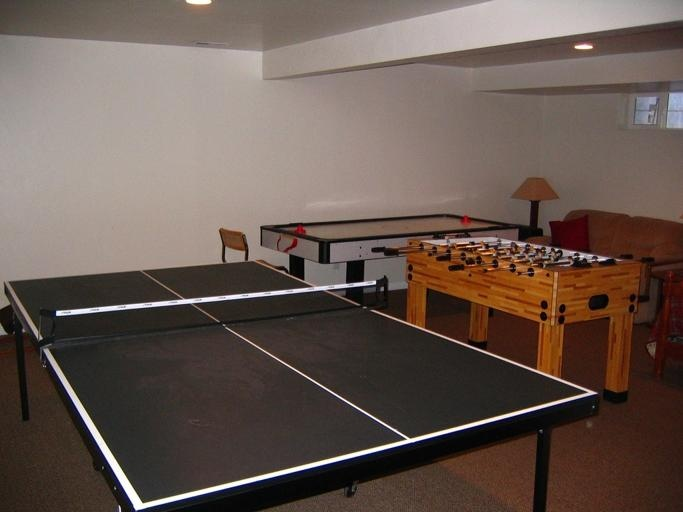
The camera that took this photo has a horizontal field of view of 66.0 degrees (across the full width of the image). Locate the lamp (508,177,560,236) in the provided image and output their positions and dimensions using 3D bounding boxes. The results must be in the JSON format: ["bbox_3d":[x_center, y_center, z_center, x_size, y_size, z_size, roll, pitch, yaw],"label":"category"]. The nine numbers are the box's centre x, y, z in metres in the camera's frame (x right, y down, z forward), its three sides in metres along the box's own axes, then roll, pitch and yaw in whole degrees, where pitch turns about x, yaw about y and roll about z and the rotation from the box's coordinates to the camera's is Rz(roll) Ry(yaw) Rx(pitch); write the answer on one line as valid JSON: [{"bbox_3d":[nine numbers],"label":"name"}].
[{"bbox_3d":[2.545,-0.647,6.863,0.474,0.721,0.461,-6,17,-9],"label":"lamp"}]

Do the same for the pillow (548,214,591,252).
[{"bbox_3d":[2.695,-0.258,6.145,0.527,0.542,0.194,0,-15,32],"label":"pillow"}]
